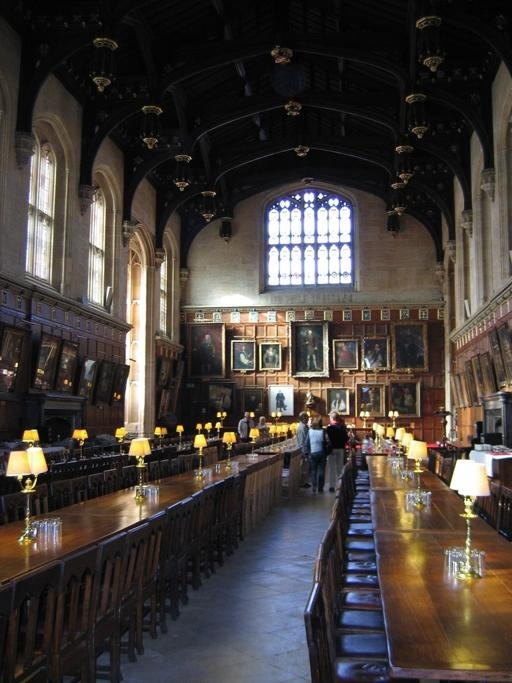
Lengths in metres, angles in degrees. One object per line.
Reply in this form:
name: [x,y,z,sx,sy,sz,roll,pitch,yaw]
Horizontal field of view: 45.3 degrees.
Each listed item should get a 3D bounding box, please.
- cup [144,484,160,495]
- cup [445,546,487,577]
cup: [-0.968,1.402,5.750,0.130,0.088,0.134,-1,-3,0]
cup: [1.006,1.078,2.967,0.142,0.070,0.188,-2,-6,10]
